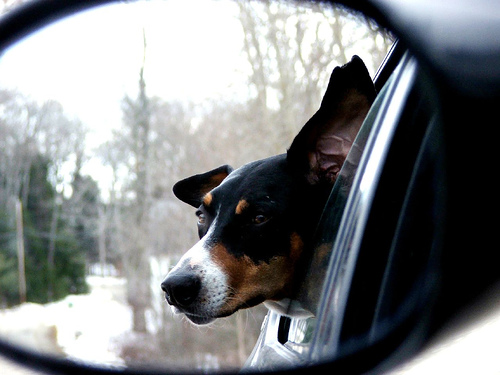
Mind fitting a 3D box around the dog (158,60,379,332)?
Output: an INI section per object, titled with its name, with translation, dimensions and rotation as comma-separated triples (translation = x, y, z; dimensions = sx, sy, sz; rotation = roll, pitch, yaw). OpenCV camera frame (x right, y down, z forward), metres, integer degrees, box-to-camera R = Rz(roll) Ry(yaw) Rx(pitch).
[dog]
translation = 0.154, 0.255, 4.619
dimensions = 1.252, 1.870, 1.094
rotation = 10, 74, -26
